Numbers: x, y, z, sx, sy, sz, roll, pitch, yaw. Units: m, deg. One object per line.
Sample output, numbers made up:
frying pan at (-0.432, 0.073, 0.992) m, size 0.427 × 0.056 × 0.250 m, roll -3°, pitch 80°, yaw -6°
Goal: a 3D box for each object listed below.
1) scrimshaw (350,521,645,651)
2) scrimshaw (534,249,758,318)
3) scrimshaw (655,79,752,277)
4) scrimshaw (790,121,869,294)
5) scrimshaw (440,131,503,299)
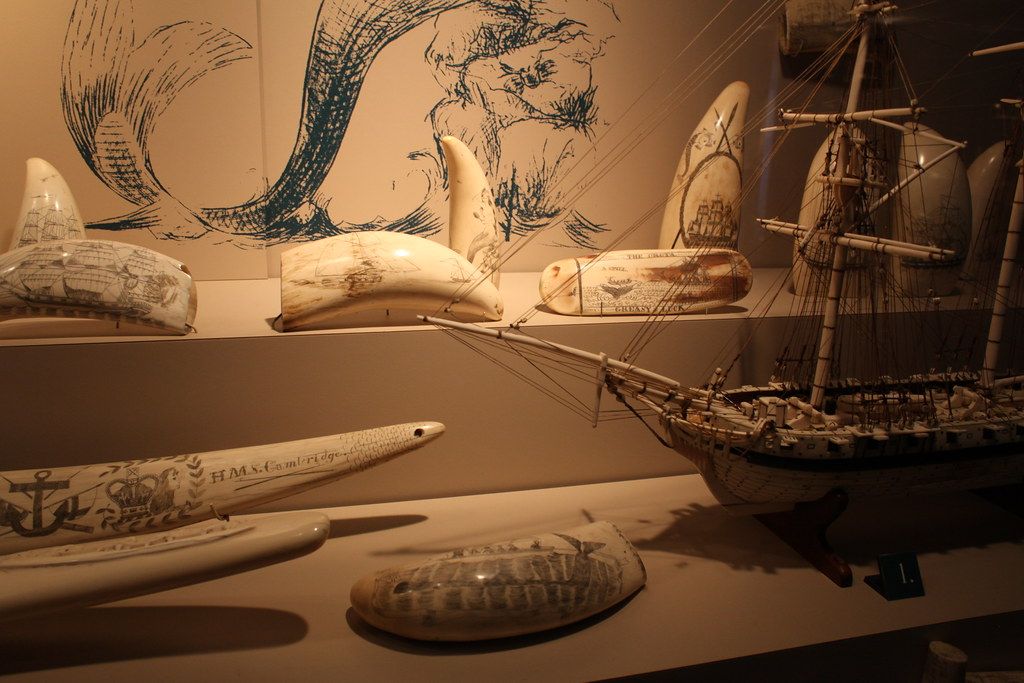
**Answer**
scrimshaw at (-0.026, 0.686, 2.163) m, size 0.669 × 0.245 × 0.352 m, roll -6°, pitch 21°, yaw -8°
scrimshaw at (0.482, -0.207, 2.730) m, size 0.604 × 0.240 × 0.309 m, roll 0°, pitch 9°, yaw -5°
scrimshaw at (0.769, -0.577, 3.002) m, size 0.216 × 0.863 × 0.229 m, roll 18°, pitch -2°, yaw 25°
scrimshaw at (1.091, -0.447, 2.675) m, size 0.179 × 0.709 × 0.232 m, roll 7°, pitch 11°, yaw 26°
scrimshaw at (-0.147, -0.506, 2.854) m, size 0.218 × 0.690 × 0.169 m, roll -27°, pitch 55°, yaw -23°
